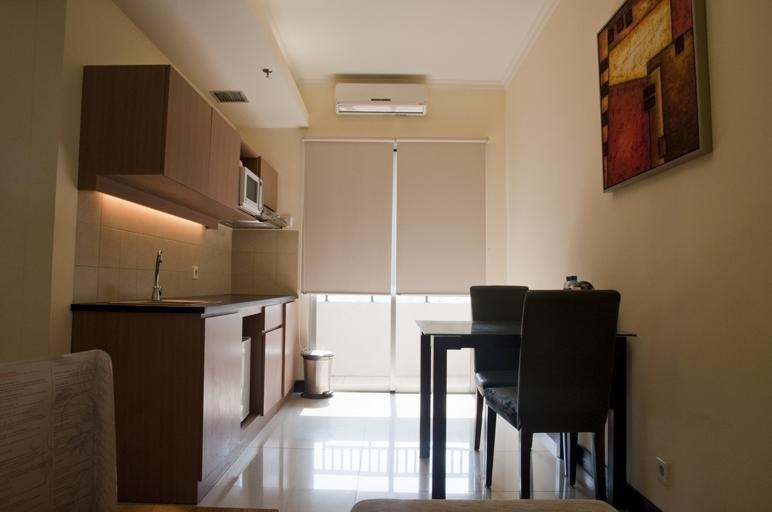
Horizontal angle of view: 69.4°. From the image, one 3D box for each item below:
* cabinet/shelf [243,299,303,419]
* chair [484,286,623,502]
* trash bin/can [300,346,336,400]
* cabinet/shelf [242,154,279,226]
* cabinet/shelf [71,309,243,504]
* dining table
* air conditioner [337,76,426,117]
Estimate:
[{"bbox_3d":[-1.042,0.826,4.860,0.330,0.838,0.927,0,0,9],"label":"cabinet/shelf"},{"bbox_3d":[0.957,0.769,3.175,0.653,1.169,0.442,2,6,8],"label":"chair"},{"bbox_3d":[-0.657,1.117,5.289,0.336,0.419,0.351,1,-2,25],"label":"trash bin/can"},{"bbox_3d":[-1.278,-0.690,5.424,0.226,0.614,0.677,-9,16,-30],"label":"cabinet/shelf"},{"bbox_3d":[-1.493,0.851,4.089,0.871,1.613,1.685,-1,-3,-1],"label":"cabinet/shelf"},{"bbox_3d":[0.773,1.002,3.770,1.042,0.988,1.088,0,-7,2],"label":"dining table"},{"bbox_3d":[-0.045,-1.553,5.481,0.910,0.350,0.297,2,34,2],"label":"air conditioner"}]
